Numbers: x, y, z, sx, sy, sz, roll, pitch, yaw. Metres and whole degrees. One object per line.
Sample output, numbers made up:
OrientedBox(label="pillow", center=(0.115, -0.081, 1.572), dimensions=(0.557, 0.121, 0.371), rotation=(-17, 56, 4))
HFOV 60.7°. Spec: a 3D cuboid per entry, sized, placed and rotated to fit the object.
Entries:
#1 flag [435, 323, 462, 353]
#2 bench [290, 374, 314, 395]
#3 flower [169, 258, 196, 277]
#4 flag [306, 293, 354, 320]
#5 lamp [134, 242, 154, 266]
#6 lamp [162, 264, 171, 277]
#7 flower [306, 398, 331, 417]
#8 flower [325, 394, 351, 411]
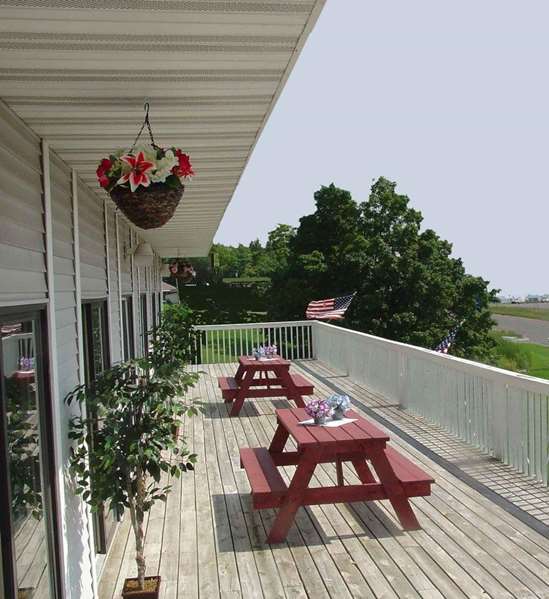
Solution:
OrientedBox(label="flag", center=(10.410, 2.285, 27.994), dimensions=(1.683, 1.773, 0.892), rotation=(-5, 3, -36))
OrientedBox(label="bench", center=(0.387, 1.256, 6.734), dimensions=(0.291, 0.401, 0.577), rotation=(-3, 2, 4))
OrientedBox(label="flower", center=(-1.902, -0.677, 9.316), dimensions=(0.436, 0.367, 0.504), rotation=(6, -1, 19))
OrientedBox(label="flag", center=(1.296, 0.257, 11.268), dimensions=(1.037, 0.562, 1.563), rotation=(-3, 2, 7))
OrientedBox(label="lamp", center=(-1.499, -0.514, 5.439), dimensions=(0.248, 0.262, 0.245), rotation=(-2, 5, 4))
OrientedBox(label="lamp", center=(-2.286, -0.612, 9.837), dimensions=(0.206, 0.203, 0.376), rotation=(-5, 9, -6))
OrientedBox(label="flower", center=(0.337, 0.835, 3.641), dimensions=(0.161, 0.118, 0.128), rotation=(-2, 1, -26))
OrientedBox(label="flower", center=(0.527, 0.824, 3.770), dimensions=(0.150, 0.100, 0.148), rotation=(2, -3, 19))
